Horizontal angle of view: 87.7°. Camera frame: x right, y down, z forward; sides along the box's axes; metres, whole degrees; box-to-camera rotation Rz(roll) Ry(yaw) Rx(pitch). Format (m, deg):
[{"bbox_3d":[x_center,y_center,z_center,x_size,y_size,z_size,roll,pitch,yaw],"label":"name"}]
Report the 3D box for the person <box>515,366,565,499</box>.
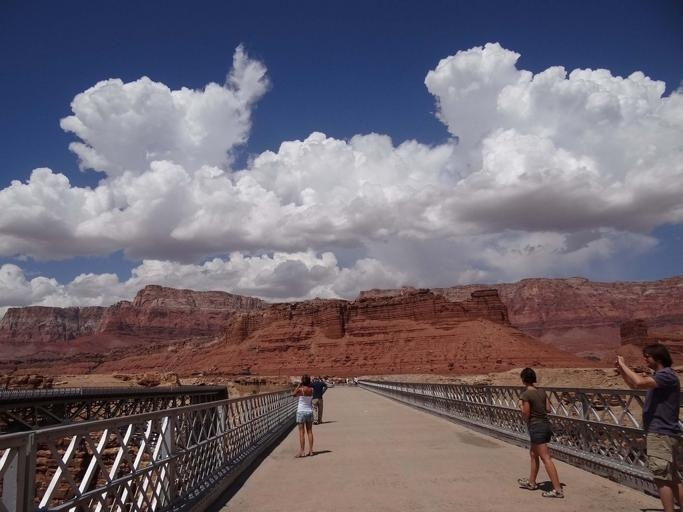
[{"bbox_3d":[3.485,3.070,6.337,0.608,2.124,1.426,-7,-11,28],"label":"person"}]
